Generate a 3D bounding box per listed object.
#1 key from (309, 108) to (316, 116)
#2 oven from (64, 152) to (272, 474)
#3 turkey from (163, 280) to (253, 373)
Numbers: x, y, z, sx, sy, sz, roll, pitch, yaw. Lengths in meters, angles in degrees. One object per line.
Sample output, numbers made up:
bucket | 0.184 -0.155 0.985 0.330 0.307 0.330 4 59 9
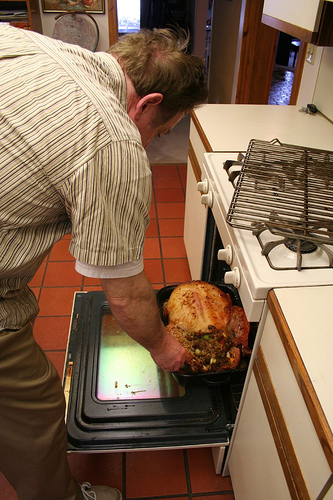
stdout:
key | 0.771 -0.724 1.797 0.036 0.009 0.036 36 21 -11
oven | -0.056 0.285 1.244 0.555 0.980 0.732 1 33 -2
turkey | 0.126 0.227 1.140 0.259 0.103 0.348 -11 39 -7
